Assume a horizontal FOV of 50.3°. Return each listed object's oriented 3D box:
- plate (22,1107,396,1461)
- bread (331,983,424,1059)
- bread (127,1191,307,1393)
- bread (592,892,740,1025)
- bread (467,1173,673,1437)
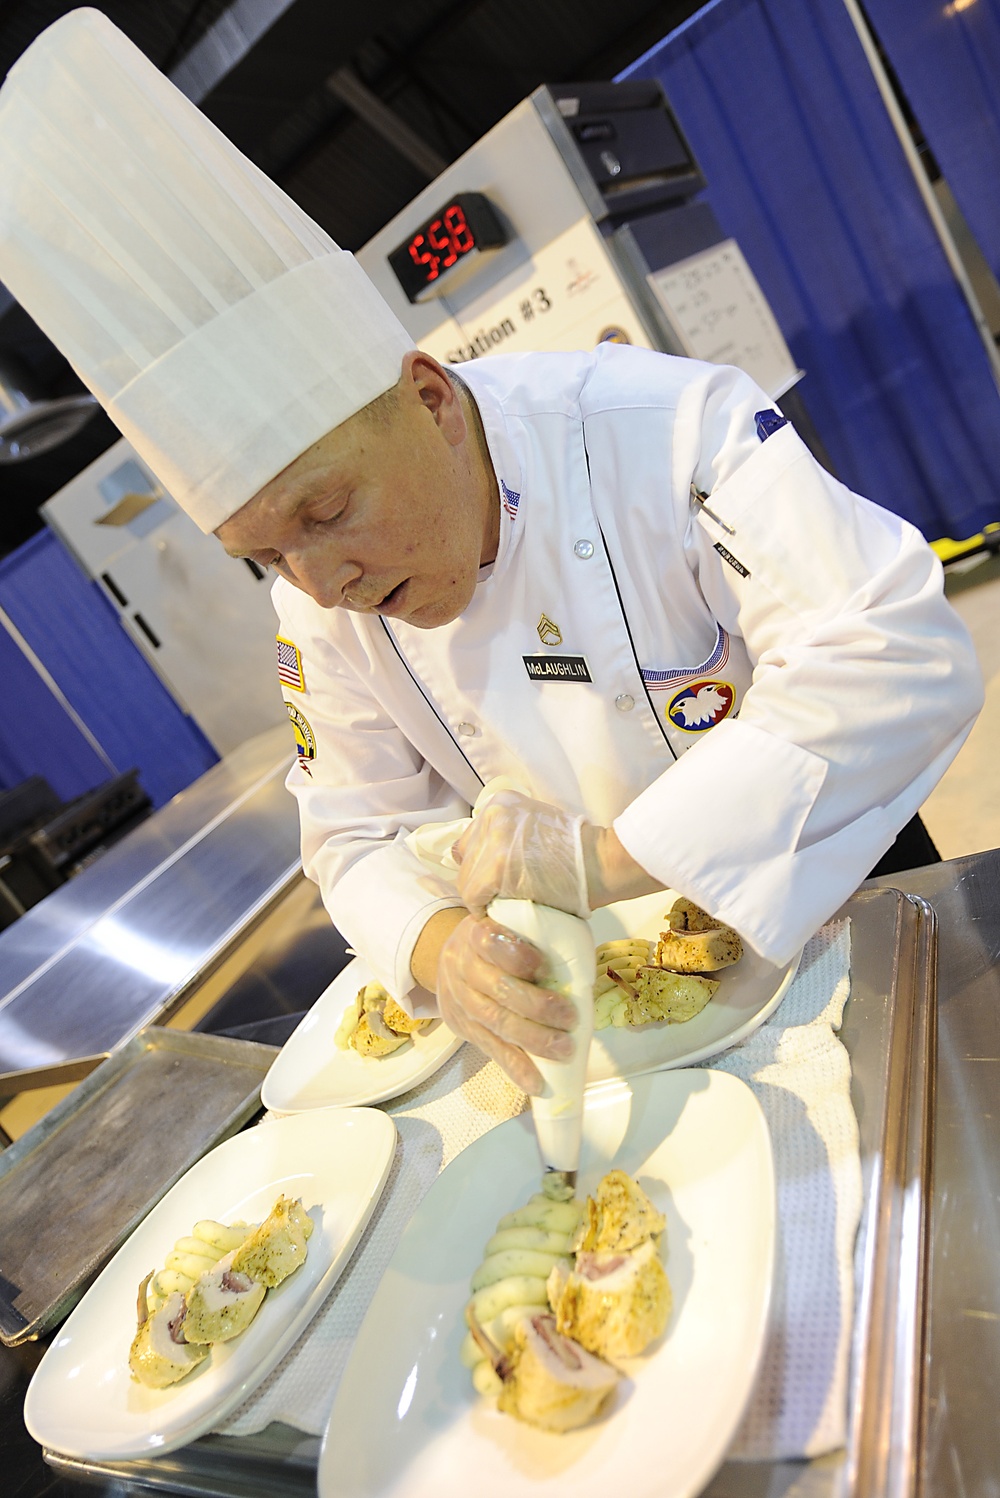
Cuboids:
[{"bbox_3d":[-0.222,0.432,0.893,0.221,0.056,0.270,-34,9,21],"label":"plate"},{"bbox_3d":[-0.143,0.288,1.155,0.068,0.018,0.066,-2,23,-1],"label":"bread"},{"bbox_3d":[-0.206,0.437,0.883,0.118,0.058,0.143,-9,41,50],"label":"bread"},{"bbox_3d":[0.161,0.196,0.990,0.109,0.032,0.099,-15,32,-16],"label":"bread"},{"bbox_3d":[0.049,0.357,0.710,0.098,0.047,0.137,0,42,34],"label":"bread"}]
